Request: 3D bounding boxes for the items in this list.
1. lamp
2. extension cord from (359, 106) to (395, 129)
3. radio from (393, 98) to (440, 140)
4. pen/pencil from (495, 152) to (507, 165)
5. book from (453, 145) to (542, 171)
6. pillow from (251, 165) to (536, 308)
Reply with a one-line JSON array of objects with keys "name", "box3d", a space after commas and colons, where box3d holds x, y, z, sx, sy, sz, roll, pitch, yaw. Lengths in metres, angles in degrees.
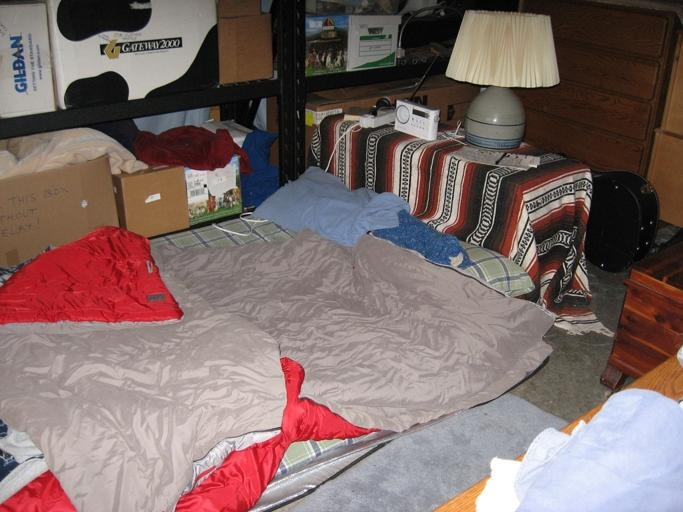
[{"name": "lamp", "box3d": [0.672, -0.794, 2.429, 0.508, 0.639, 0.486, -18, 33, -33]}, {"name": "extension cord", "box3d": [0.185, -0.700, 2.647, 0.182, 0.064, 0.097, -21, 33, -37]}, {"name": "radio", "box3d": [0.365, -0.665, 2.537, 0.076, 0.152, 0.242, -26, 42, -35]}, {"name": "pen/pencil", "box3d": [0.706, -0.431, 2.302, 0.024, 0.011, 0.167, 16, 33, 25]}, {"name": "book", "box3d": [0.689, -0.433, 2.304, 0.244, 0.012, 0.159, 12, 24, 19]}, {"name": "pillow", "box3d": [0.095, -0.126, 2.497, 1.336, 0.479, 1.131, 3, 29, -19]}]
